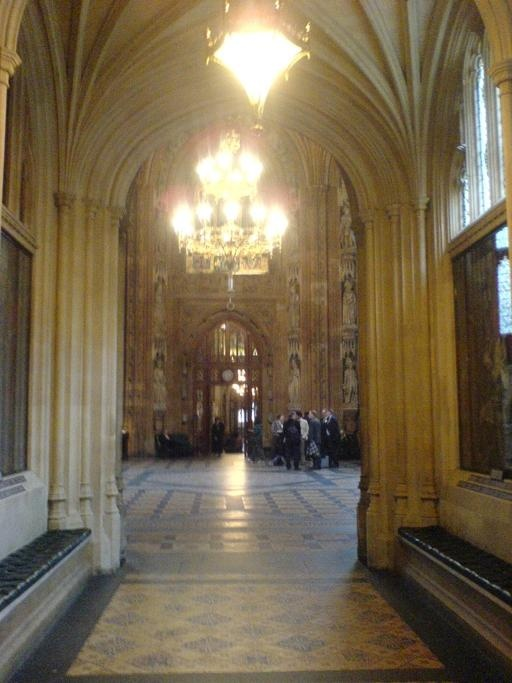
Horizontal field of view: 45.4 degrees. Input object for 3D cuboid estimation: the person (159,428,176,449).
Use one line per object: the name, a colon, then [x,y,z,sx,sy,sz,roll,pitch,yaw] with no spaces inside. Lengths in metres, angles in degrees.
person: [-2.586,2.863,18.020,0.391,0.565,0.892,1,-7,-2]

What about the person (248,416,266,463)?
person: [-0.004,2.832,17.241,0.309,1.025,1.119,1,-7,-8]

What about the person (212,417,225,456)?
person: [-1.198,2.970,19.232,0.350,1.141,0.527,2,-6,-9]

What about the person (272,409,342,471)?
person: [1.523,2.336,14.745,0.923,1.377,1.272,0,-6,7]
